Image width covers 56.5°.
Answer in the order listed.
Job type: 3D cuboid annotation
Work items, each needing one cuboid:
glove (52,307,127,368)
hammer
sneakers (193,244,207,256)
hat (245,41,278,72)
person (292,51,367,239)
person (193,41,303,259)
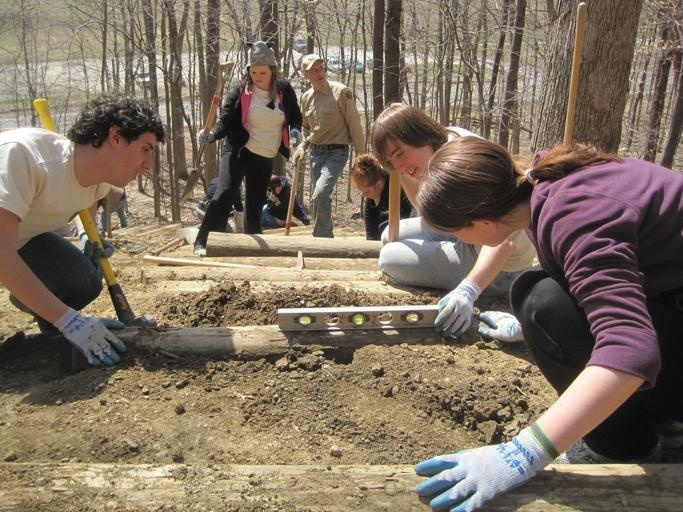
[{"bbox_3d":[-1.423,0.471,3.641,0.272,0.424,0.113,-53,4,-26],"label":"glove"},{"bbox_3d":[-1.766,-0.331,4.103,0.291,1.335,0.215,-20,12,-9],"label":"hammer"},{"bbox_3d":[-1.414,-0.053,6.364,0.118,0.072,0.186,-4,18,-16],"label":"sneakers"},{"bbox_3d":[-0.777,-1.929,6.163,0.271,0.237,0.255,-1,19,-6],"label":"hat"},{"bbox_3d":[-0.169,-1.308,7.356,0.868,2.147,0.811,8,20,1],"label":"person"},{"bbox_3d":[-0.968,-1.030,6.438,1.462,1.984,0.932,-12,22,-43],"label":"person"}]
